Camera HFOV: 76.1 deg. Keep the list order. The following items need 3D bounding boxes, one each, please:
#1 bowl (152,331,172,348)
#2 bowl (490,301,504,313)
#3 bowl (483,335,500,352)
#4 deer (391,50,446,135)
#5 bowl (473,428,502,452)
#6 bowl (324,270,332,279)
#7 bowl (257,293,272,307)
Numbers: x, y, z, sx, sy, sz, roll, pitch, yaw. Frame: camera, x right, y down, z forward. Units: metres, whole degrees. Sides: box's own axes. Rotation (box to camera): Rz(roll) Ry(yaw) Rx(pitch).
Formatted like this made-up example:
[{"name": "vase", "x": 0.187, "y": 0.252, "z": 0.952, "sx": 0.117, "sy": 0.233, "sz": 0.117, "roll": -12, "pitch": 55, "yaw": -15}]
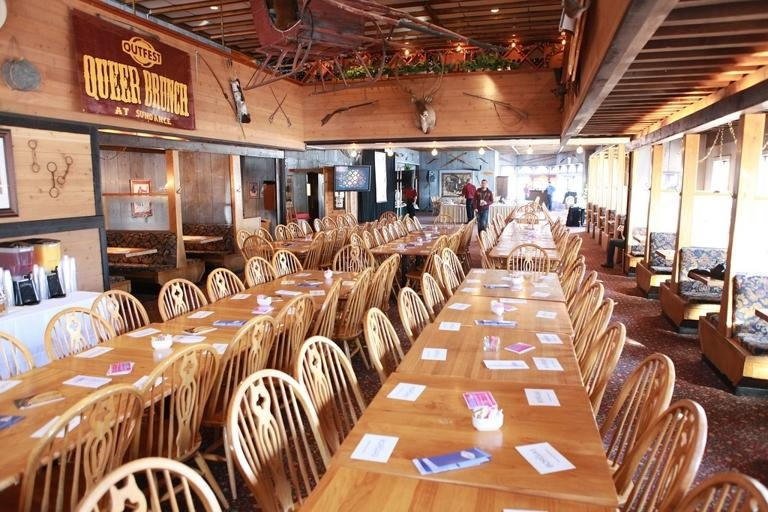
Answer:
[{"name": "bowl", "x": -1.660, "y": 0.639, "z": 3.719, "sx": 0.158, "sy": 0.094, "sz": 0.174, "roll": 1, "pitch": 0, "yaw": 8}, {"name": "bowl", "x": 1.016, "y": 0.458, "z": 4.417, "sx": 0.081, "sy": 0.094, "sz": 0.109, "roll": 2, "pitch": -5, "yaw": -23}, {"name": "bowl", "x": 0.828, "y": 0.667, "z": 3.764, "sx": 0.100, "sy": 0.087, "sz": 0.101, "roll": 0, "pitch": 7, "yaw": 0}, {"name": "deer", "x": 0.864, "y": -3.699, "z": 11.264, "sx": 1.036, "sy": 1.748, "sz": 1.388, "roll": 1, "pitch": 8, "yaw": 6}, {"name": "bowl", "x": 0.590, "y": 1.036, "z": 2.756, "sx": 0.150, "sy": 0.041, "sz": 0.162, "roll": 0, "pitch": 8, "yaw": 0}, {"name": "bowl", "x": -0.685, "y": 0.226, "z": 5.952, "sx": 0.090, "sy": 0.072, "sz": 0.099, "roll": 3, "pitch": 4, "yaw": 20}, {"name": "bowl", "x": -1.153, "y": 0.430, "z": 4.781, "sx": 0.103, "sy": 0.070, "sz": 0.131, "roll": 2, "pitch": 5, "yaw": 9}]
